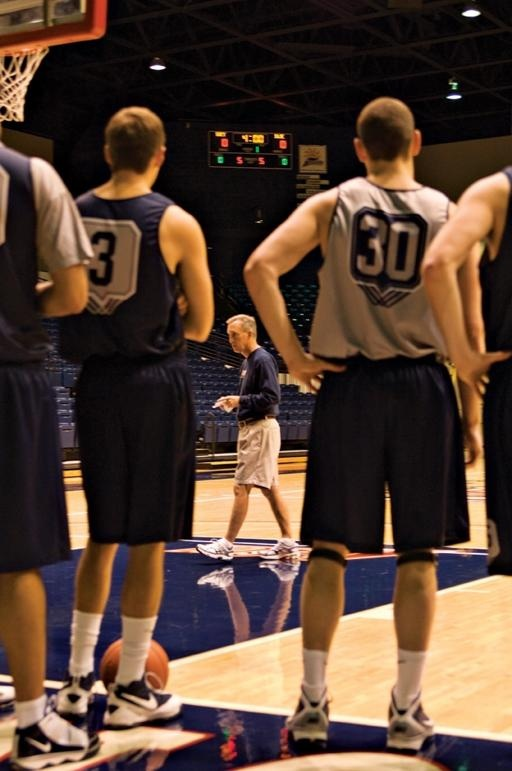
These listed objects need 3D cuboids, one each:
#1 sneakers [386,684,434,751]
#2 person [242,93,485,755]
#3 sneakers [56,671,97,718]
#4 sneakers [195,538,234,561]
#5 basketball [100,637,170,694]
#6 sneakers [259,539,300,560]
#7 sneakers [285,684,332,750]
[{"bbox_3d":[0.396,0.796,1.753,0.071,0.141,0.216,-6,-12,30],"label":"sneakers"},{"bbox_3d":[0.298,0.084,1.855,0.588,1.618,0.366,1,-3,-2],"label":"person"},{"bbox_3d":[-0.495,0.846,1.963,0.068,0.054,0.131,2,2,5],"label":"sneakers"},{"bbox_3d":[-0.263,1.179,5.115,0.329,0.185,0.123,7,-4,0],"label":"sneakers"},{"bbox_3d":[-0.386,0.836,2.112,0.143,0.167,0.142,-2,-19,-11],"label":"basketball"},{"bbox_3d":[0.207,1.199,5.262,0.329,0.178,0.126,1,-4,5],"label":"sneakers"},{"bbox_3d":[0.129,0.803,1.763,0.107,0.147,0.155,0,-7,3],"label":"sneakers"}]
